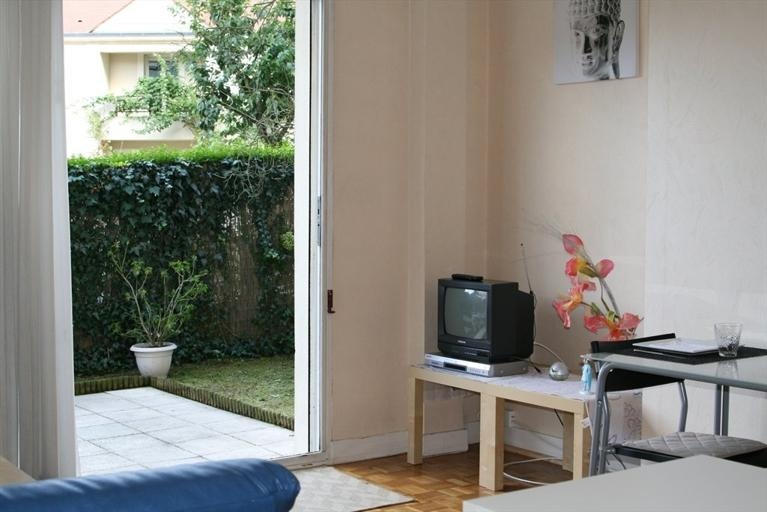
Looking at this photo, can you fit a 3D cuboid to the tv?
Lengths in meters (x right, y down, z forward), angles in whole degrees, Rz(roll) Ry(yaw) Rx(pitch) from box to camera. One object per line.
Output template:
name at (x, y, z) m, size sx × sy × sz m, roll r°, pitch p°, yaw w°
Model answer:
tv at (0.715, 0.450, 4.906) m, size 0.590 × 0.630 × 0.626 m, roll 1°, pitch -1°, yaw -31°

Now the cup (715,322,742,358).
cup at (1.609, 0.392, 3.194) m, size 0.145 × 0.162 × 0.142 m, roll 0°, pitch -2°, yaw 0°

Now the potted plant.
potted plant at (-1.809, 0.529, 5.479) m, size 0.610 × 0.770 × 0.492 m, roll 2°, pitch -6°, yaw -40°
